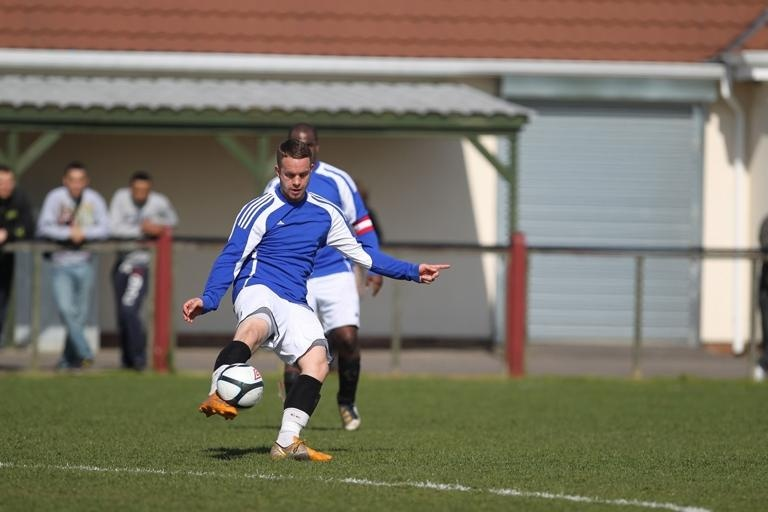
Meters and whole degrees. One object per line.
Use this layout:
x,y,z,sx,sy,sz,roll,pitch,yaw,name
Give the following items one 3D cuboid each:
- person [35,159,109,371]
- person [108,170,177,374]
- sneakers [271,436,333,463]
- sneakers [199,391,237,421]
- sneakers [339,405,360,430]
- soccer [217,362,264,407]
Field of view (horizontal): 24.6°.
-4.077,0.122,22.951,0.897,2.680,0.408,3,-5,-21,person
-3.260,0.200,23.243,0.789,2.623,0.627,2,-5,-7,person
-0.903,2.111,19.202,0.659,0.239,0.248,3,-3,-6,sneakers
-1.779,1.593,18.803,0.391,0.254,0.234,2,-5,-6,sneakers
-0.407,1.844,20.638,0.145,0.370,0.159,-10,-41,-10,sneakers
-1.548,1.430,18.799,0.478,0.448,0.474,7,16,-9,soccer
